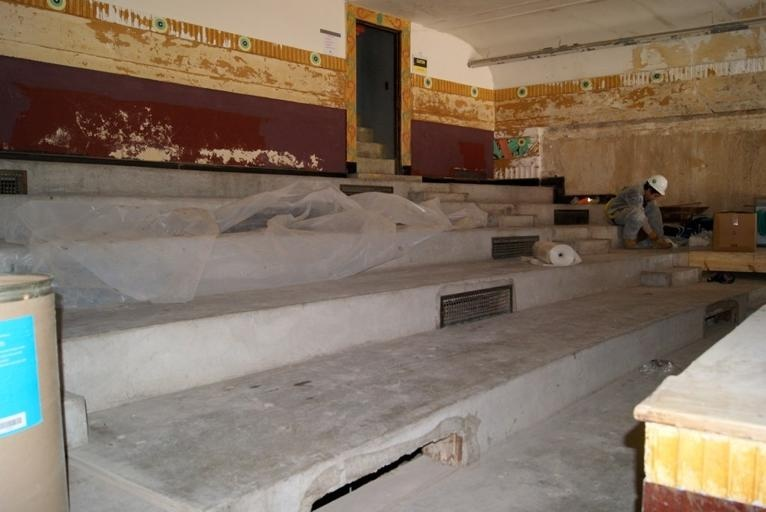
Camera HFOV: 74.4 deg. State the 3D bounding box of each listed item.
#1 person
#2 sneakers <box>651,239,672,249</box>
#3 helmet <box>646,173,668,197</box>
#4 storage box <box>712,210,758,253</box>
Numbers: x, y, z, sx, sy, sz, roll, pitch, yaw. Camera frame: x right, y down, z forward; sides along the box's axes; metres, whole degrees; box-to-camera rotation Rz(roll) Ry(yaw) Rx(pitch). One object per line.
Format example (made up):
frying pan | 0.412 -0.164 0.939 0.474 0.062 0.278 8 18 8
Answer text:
person | 3.613 -0.640 7.140 0.931 0.994 0.725 12 22 41
sneakers | 3.792 -0.174 6.781 0.312 0.111 0.118 2 13 -4
helmet | 3.831 -0.983 6.988 0.275 0.255 0.244 -6 15 -35
storage box | 4.697 -0.313 6.738 0.552 0.511 0.539 1 -2 23
